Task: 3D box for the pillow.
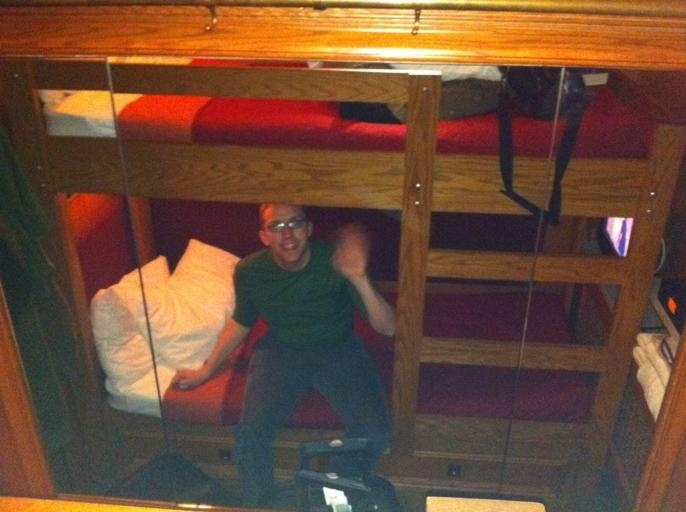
[{"bbox_3d":[-0.553,0.169,1.910,0.142,0.405,0.453,20,20,27],"label":"pillow"}]
